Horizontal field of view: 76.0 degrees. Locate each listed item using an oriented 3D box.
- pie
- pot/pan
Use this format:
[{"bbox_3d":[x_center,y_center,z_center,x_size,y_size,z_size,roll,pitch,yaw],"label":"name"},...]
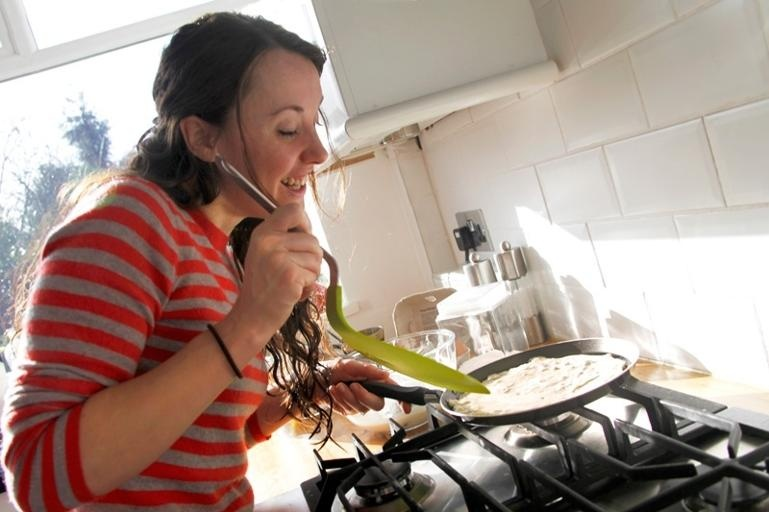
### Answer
[{"bbox_3d":[0.300,0.227,1.018,0.292,0.107,0.296,-2,5,-23],"label":"pie"},{"bbox_3d":[0.293,0.252,1.018,0.369,0.050,0.216,-12,2,23],"label":"pot/pan"}]
